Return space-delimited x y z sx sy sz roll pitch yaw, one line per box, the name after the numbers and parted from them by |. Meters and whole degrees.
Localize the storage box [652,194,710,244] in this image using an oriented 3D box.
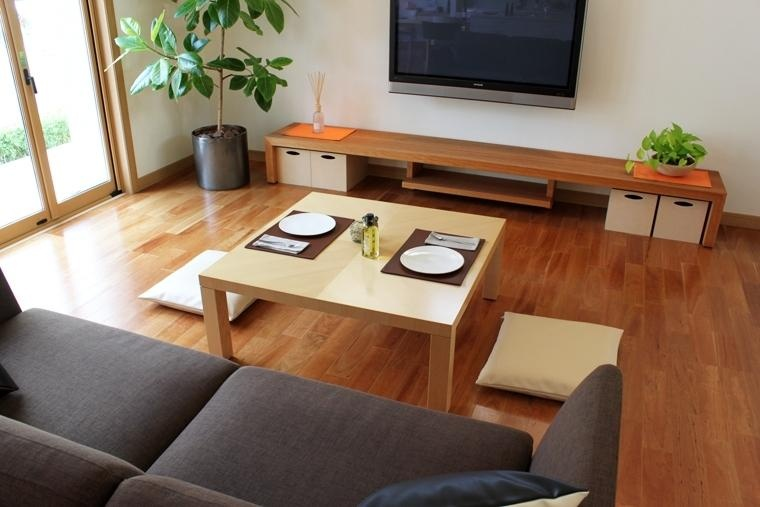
2.292 -0.297 4.041 0.327 0.294 0.317 10 18 18 | storage box

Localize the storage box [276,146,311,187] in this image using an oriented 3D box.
-0.732 -0.837 4.879 0.337 0.326 0.331 12 29 19 | storage box

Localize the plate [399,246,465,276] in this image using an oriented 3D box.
0.271 0.029 2.731 0.189 0.020 0.188 8 34 14 | plate

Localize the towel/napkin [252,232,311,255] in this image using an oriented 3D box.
-0.544 -0.054 2.852 0.226 0.025 0.130 11 33 15 | towel/napkin

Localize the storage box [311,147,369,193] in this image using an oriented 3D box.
-0.378 -0.800 4.715 0.380 0.234 0.376 8 23 18 | storage box

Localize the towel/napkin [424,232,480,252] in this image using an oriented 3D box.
0.398 -0.071 2.879 0.204 0.029 0.131 7 28 17 | towel/napkin

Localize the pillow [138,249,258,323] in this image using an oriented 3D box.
-1.107 0.234 3.209 0.500 0.117 0.516 10 29 19 | pillow

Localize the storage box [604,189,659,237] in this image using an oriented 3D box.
2.000 -0.338 4.179 0.409 0.358 0.424 14 6 17 | storage box

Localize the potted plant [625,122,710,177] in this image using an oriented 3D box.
2.187 -0.775 4.028 0.583 0.278 0.546 5 -4 7 | potted plant
